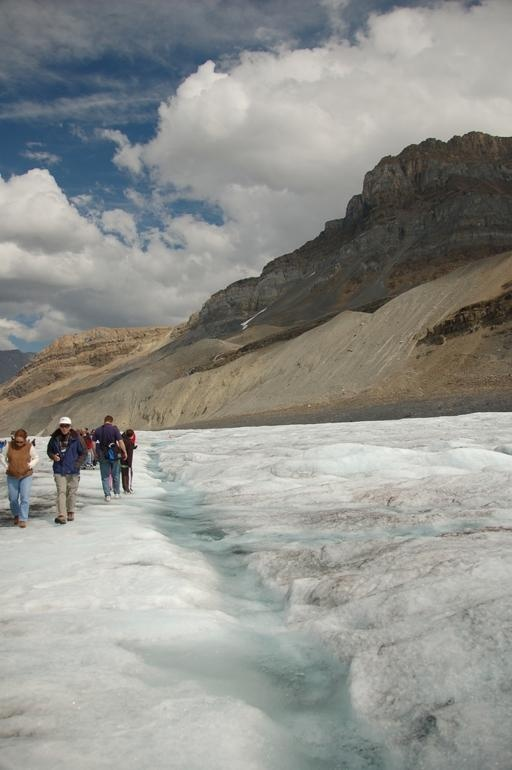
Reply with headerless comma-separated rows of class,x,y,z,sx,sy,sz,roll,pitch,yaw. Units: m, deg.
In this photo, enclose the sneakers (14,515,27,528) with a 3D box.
sneakers,-3.596,2.132,8.999,0.123,0.145,0.372,-1,-30,-24
